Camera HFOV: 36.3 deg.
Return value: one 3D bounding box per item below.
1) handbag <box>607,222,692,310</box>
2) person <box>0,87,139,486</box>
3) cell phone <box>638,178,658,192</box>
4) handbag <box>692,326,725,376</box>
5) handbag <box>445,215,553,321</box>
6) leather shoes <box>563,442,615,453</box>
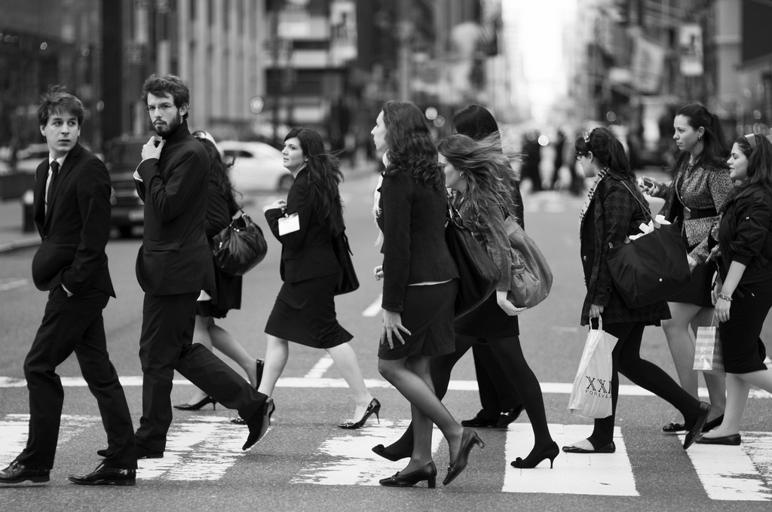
[{"bbox_3d":[2.147,0.074,9.765,0.539,0.563,0.255,-25,-9,-1],"label":"handbag"},{"bbox_3d":[-2.488,0.259,9.175,0.973,3.046,0.697,-2,10,-13],"label":"person"},{"bbox_3d":[2.391,-0.678,10.785,0.148,0.070,0.204,18,-4,43],"label":"cell phone"},{"bbox_3d":[2.797,0.824,10.189,0.161,0.421,0.440,-1,-5,25],"label":"handbag"},{"bbox_3d":[0.918,0.071,9.705,0.841,0.895,0.767,-15,0,-5],"label":"handbag"},{"bbox_3d":[1.718,1.633,9.937,0.366,0.104,0.149,3,-5,1],"label":"leather shoes"}]
